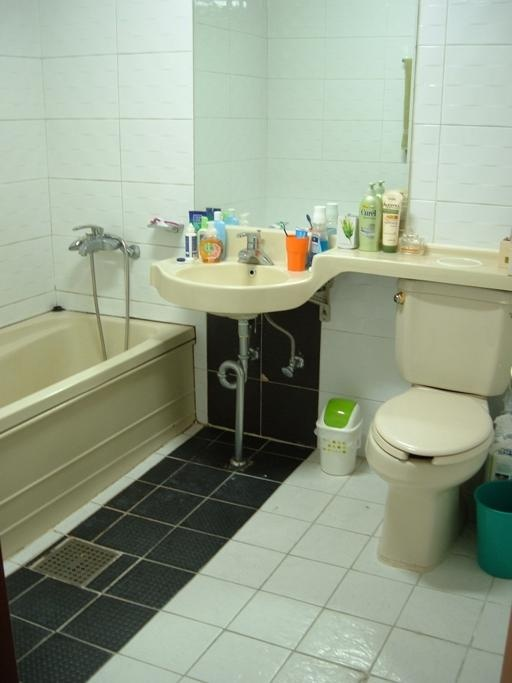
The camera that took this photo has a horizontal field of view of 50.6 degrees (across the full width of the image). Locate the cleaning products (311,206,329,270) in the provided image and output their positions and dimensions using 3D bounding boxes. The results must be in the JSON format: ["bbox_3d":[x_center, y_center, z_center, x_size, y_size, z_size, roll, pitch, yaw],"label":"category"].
[{"bbox_3d":[0.257,-0.443,2.198,0.075,0.208,0.086,2,15,8],"label":"cleaning products"}]

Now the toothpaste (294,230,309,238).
[{"bbox_3d":[0.180,-0.426,2.136,0.039,0.038,0.030,2,14,-1],"label":"toothpaste"}]

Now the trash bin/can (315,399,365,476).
[{"bbox_3d":[0.375,0.416,2.407,0.223,0.323,0.212,8,16,21],"label":"trash bin/can"}]

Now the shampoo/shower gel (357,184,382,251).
[{"bbox_3d":[0.438,-0.474,2.079,0.091,0.248,0.070,4,15,14],"label":"shampoo/shower gel"}]

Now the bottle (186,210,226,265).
[{"bbox_3d":[-0.219,-0.455,2.395,0.209,0.301,0.108,5,18,16],"label":"bottle"}]

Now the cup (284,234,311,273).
[{"bbox_3d":[0.165,-0.361,2.197,0.098,0.153,0.121,3,15,12],"label":"cup"}]

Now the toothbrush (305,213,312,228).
[{"bbox_3d":[0.216,-0.501,2.245,0.014,0.064,0.016,-10,-2,14],"label":"toothbrush"}]

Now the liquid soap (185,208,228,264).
[{"bbox_3d":[-0.215,-0.464,2.402,0.209,0.296,0.112,6,17,23],"label":"liquid soap"}]
